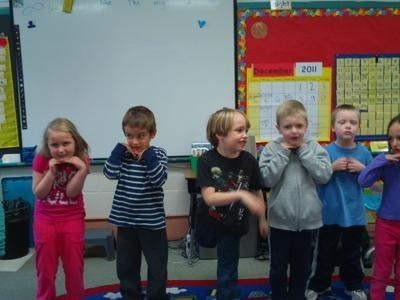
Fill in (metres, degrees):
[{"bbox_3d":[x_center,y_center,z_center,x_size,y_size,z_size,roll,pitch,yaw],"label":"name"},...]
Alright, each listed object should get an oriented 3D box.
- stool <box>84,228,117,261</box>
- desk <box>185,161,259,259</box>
[{"bbox_3d":[-0.978,0.927,4.053,0.278,0.149,0.289,-1,2,6],"label":"stool"},{"bbox_3d":[0.390,0.575,4.277,0.877,1.098,0.752,0,2,0],"label":"desk"}]
